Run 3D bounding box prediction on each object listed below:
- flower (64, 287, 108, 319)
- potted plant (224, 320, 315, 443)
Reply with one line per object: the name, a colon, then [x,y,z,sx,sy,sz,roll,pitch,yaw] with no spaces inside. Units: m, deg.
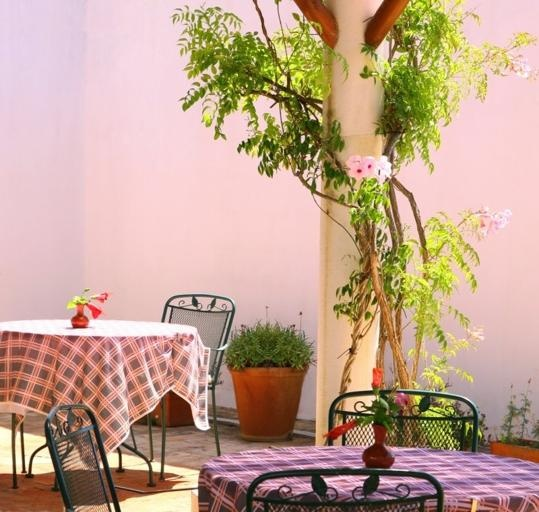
flower: [-1.524,0.393,5.310,0.381,0.174,0.383,-7,-12,32]
potted plant: [-0.017,0.983,4.946,0.838,0.864,0.737,1,-11,-2]
